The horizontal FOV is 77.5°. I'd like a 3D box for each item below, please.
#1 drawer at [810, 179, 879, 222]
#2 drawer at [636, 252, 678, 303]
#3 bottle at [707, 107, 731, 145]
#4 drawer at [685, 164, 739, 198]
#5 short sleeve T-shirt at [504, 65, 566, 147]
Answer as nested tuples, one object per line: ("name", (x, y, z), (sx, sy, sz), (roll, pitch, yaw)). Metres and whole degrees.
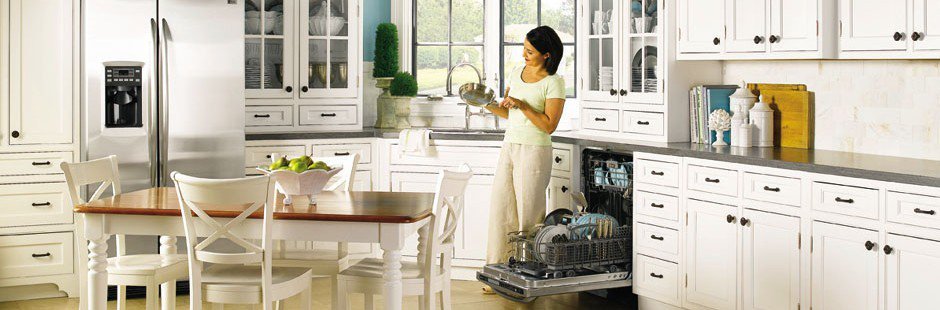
("drawer", (4.554, 0.539, 7.107), (0.886, 0.285, 0.516), (1, 1, 29))
("drawer", (2.621, 1.684, 8.257), (0.815, 0.559, 0.544), (11, 3, 18))
("bottle", (3.407, -0.383, 7.997), (0.304, 0.487, 0.257), (2, 13, 18))
("drawer", (3.195, 0.306, 7.692), (0.788, 0.328, 0.472), (2, 1, 34))
("short sleeve T-shirt", (0.909, -0.647, 8.274), (0.815, 0.990, 0.398), (1, 13, 12))
